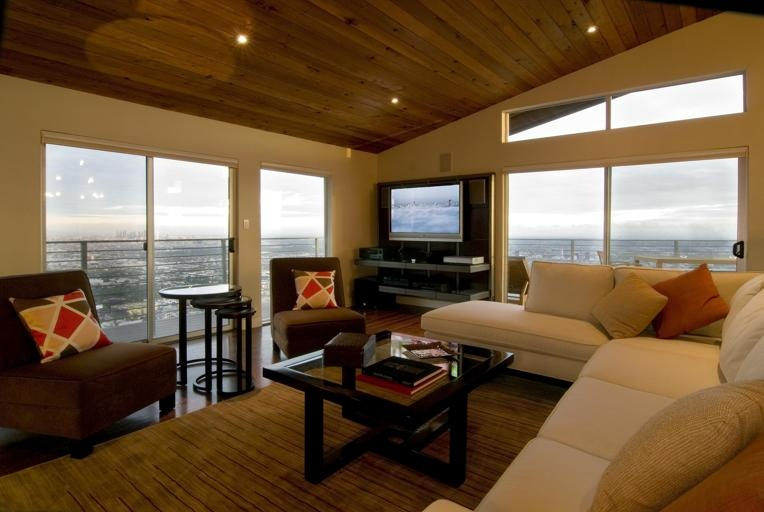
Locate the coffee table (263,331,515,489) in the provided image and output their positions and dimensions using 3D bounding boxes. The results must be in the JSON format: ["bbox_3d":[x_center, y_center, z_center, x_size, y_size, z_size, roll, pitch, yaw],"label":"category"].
[{"bbox_3d":[-0.083,0.895,3.166,1.278,0.547,1.264,3,5,35],"label":"coffee table"}]

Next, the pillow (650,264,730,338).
[{"bbox_3d":[2.487,0.363,3.713,0.509,0.579,0.293,0,6,26],"label":"pillow"}]

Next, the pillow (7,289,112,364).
[{"bbox_3d":[-2.449,0.508,3.477,0.159,0.482,0.527,-37,-8,22],"label":"pillow"}]

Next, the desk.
[{"bbox_3d":[-1.681,0.695,4.553,1.147,0.871,0.824,1,2,34],"label":"desk"}]

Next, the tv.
[{"bbox_3d":[0.665,-0.655,6.646,1.072,0.656,0.079,2,0,34],"label":"tv"}]
